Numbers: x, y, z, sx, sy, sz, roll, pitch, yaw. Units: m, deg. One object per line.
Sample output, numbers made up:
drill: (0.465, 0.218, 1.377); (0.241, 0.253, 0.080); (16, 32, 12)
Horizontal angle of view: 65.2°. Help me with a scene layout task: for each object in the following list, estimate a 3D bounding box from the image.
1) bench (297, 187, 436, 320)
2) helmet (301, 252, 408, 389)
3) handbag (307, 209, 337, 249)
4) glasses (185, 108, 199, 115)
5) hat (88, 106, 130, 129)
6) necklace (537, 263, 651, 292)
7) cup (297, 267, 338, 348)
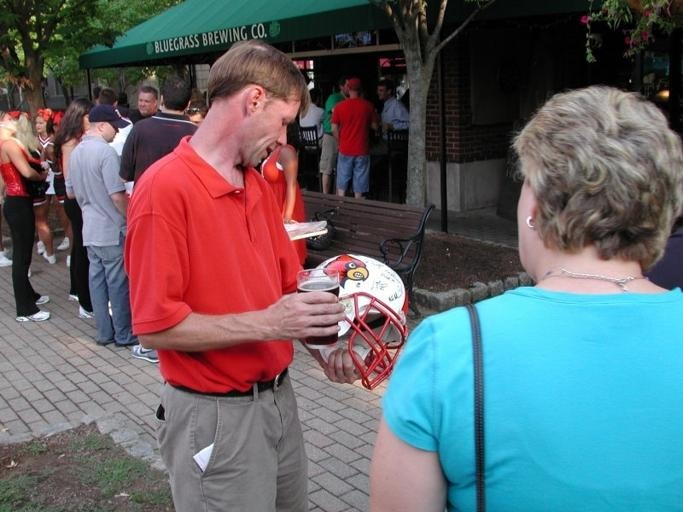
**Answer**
bench: (0.042, -0.203, 7.155); (2.063, 1.056, 0.919); (14, 19, 12)
helmet: (-0.011, 0.251, 2.378); (0.557, 0.521, 0.449); (12, -8, 17)
handbag: (-0.269, -0.380, 7.414); (0.336, 0.515, 0.582); (-10, -15, 41)
glasses: (-2.014, -1.915, 7.243); (0.115, 0.088, 0.103); (-3, 19, -2)
hat: (-2.691, -1.561, 6.195); (0.404, 0.210, 0.256); (-9, 26, -27)
necklace: (0.610, 0.052, 1.287); (0.200, 0.032, 0.077); (12, -24, 6)
cup: (-0.088, 0.198, 2.104); (0.173, 0.274, 0.174); (-12, -10, -2)
